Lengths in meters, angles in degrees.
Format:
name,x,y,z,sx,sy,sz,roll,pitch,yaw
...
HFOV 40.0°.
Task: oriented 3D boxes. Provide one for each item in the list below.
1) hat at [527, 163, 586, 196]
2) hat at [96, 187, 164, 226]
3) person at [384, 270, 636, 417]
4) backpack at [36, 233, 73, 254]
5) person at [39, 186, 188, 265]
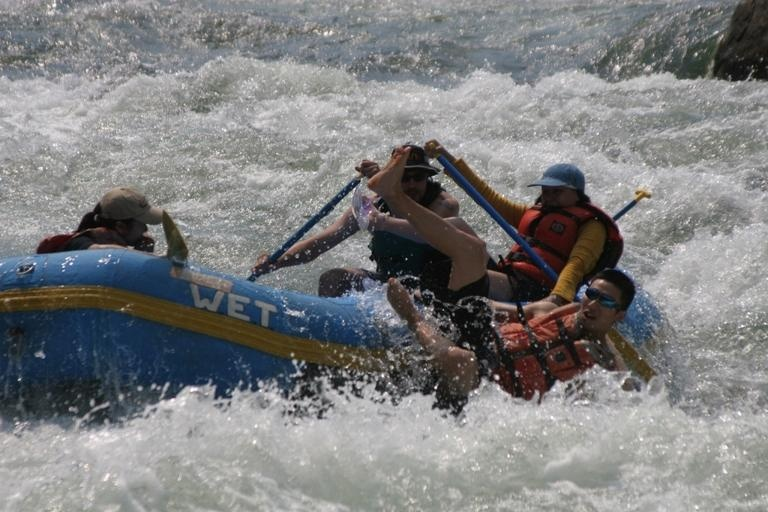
name,x,y,z,sx,sy,sz,roll,pitch,yaw
hat,1.937,-0.866,11.782,0.462,0.231,0.326,3,3,-14
hat,-2.669,-0.562,11.100,0.717,0.343,0.432,-2,25,-12
person,1.299,0.887,10.918,2.310,0.874,1.349,5,6,-17
backpack,-3.368,-0.125,10.772,0.305,0.103,0.200,-3,33,0
person,-2.817,-0.285,11.174,1.771,0.695,1.034,0,9,6
